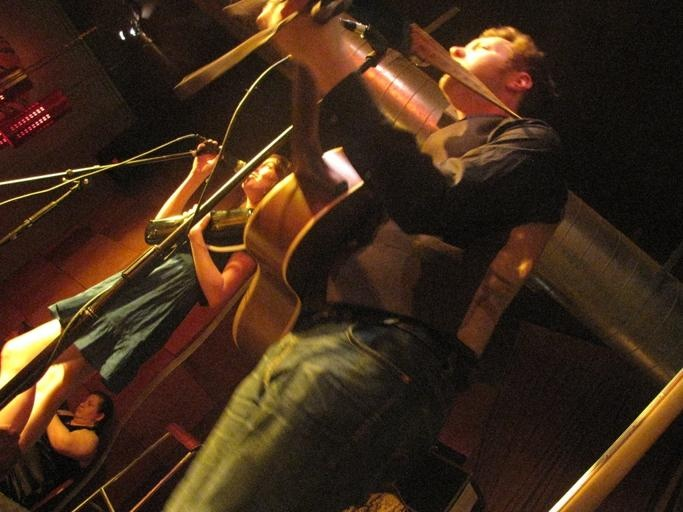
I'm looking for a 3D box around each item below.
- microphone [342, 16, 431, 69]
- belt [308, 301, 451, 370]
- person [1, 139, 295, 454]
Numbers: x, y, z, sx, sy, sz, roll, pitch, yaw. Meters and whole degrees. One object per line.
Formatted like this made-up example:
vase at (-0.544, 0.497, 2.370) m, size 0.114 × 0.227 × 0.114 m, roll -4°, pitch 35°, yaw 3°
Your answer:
microphone at (0.099, -0.510, 1.420) m, size 0.187 × 0.044 × 0.065 m, roll 23°, pitch 4°, yaw -9°
belt at (0.111, 0.174, 1.520) m, size 0.273 × 0.180 × 0.073 m, roll 25°, pitch 63°, yaw 25°
person at (-0.516, 0.131, 1.575) m, size 1.156 × 0.147 × 0.466 m, roll -53°, pitch -6°, yaw -20°
